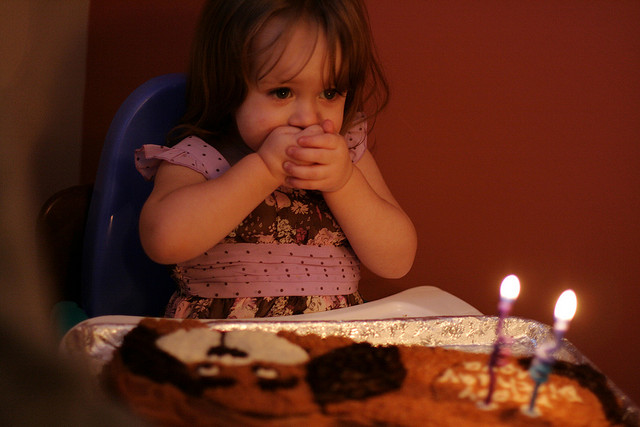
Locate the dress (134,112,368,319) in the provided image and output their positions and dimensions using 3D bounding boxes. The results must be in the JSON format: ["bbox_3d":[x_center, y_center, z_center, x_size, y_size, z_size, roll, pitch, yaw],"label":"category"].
[{"bbox_3d":[-0.100,0.001,1.391,0.517,0.605,0.300,-4,12,-33],"label":"dress"}]
